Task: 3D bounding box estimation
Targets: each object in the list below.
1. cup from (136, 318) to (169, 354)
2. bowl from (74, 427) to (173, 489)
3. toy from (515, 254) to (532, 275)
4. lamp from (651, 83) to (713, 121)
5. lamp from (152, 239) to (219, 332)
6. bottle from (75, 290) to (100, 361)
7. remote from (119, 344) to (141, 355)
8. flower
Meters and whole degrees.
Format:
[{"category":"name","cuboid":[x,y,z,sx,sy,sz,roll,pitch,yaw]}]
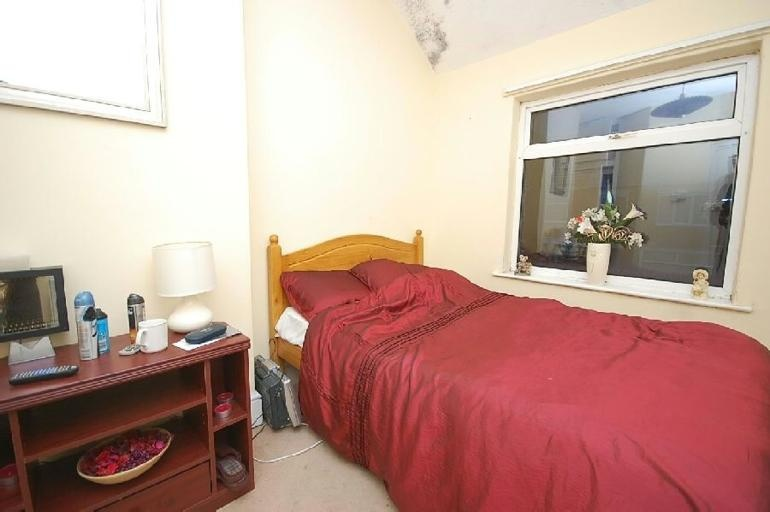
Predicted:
[{"category":"cup","cuboid":[-1.272,0.437,2.718,0.183,0.163,0.134,-8,11,-38]},{"category":"bowl","cuboid":[-1.356,1.108,2.629,0.448,0.110,0.442,-14,3,1]},{"category":"toy","cuboid":[1.200,0.078,4.276,0.142,0.195,0.155,1,11,29]},{"category":"lamp","cuboid":[2.210,-1.113,3.679,0.198,0.116,0.271,14,61,45]},{"category":"lamp","cuboid":[-1.154,0.191,2.860,0.292,0.512,0.216,-10,12,-42]},{"category":"bottle","cuboid":[-1.581,0.372,2.616,0.095,0.358,0.075,-7,10,-27]},{"category":"remote","cuboid":[-1.385,0.512,2.676,0.061,0.019,0.080,6,9,30]},{"category":"flower","cuboid":[1.755,-0.298,3.908,0.411,0.258,0.412,-15,13,-30]}]
